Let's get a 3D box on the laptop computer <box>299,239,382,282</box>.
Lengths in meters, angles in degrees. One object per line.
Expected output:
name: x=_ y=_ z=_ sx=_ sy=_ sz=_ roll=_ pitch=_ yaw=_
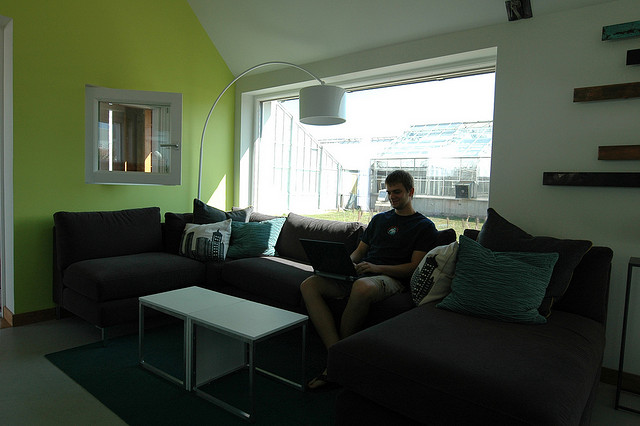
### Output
laptop computer: x=0.121 y=0.350 z=3.520 sx=0.395 sy=0.291 sz=0.446 roll=2 pitch=10 yaw=40

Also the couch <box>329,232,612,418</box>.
couch: x=1.095 y=0.766 z=2.905 sx=1.679 sy=1.003 sz=1.207 roll=-3 pitch=6 yaw=-45

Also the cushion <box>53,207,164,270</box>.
cushion: x=-2.130 y=0.212 z=4.488 sx=0.302 sy=0.516 sz=1.050 roll=3 pitch=7 yaw=43

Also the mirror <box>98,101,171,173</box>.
mirror: x=-2.036 y=-0.835 z=4.703 sx=0.882 sy=0.881 sz=0.069 roll=0 pitch=1 yaw=-32

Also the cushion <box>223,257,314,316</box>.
cushion: x=-0.447 y=0.658 z=4.148 sx=1.042 sy=0.316 sz=0.409 roll=6 pitch=9 yaw=33

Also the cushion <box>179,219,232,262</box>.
cushion: x=-1.228 y=0.291 z=4.600 sx=0.630 sy=0.437 sz=0.224 roll=6 pitch=5 yaw=23

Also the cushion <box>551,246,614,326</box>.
cushion: x=1.936 y=0.520 z=3.163 sx=0.164 sy=0.500 sz=0.524 roll=27 pitch=-9 yaw=-41

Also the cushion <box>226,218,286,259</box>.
cushion: x=-0.710 y=0.326 z=4.734 sx=0.684 sy=0.428 sz=0.253 roll=-8 pitch=18 yaw=-33

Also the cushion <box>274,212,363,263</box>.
cushion: x=-0.108 y=0.323 z=4.731 sx=0.374 sy=0.560 sz=1.128 roll=17 pitch=-4 yaw=-33

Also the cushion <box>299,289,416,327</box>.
cushion: x=0.484 y=0.750 z=3.427 sx=0.373 sy=0.111 sz=0.500 roll=-3 pitch=4 yaw=-40

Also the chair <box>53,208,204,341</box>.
chair: x=-1.858 y=0.537 z=4.248 sx=1.135 sy=1.081 sz=0.978 roll=8 pitch=10 yaw=39

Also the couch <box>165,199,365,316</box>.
couch: x=-0.598 y=0.263 z=4.551 sx=1.950 sy=0.780 sz=1.077 roll=8 pitch=9 yaw=41

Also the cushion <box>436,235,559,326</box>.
cushion: x=1.343 y=0.370 z=3.285 sx=0.880 sy=0.466 sz=0.608 roll=10 pitch=24 yaw=27
